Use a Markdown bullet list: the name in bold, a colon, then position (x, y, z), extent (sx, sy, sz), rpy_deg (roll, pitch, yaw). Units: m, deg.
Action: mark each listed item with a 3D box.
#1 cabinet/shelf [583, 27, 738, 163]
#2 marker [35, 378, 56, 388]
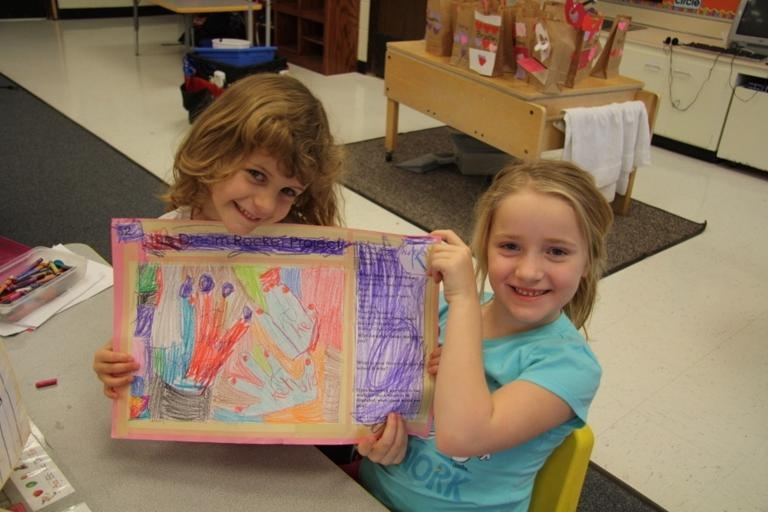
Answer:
- **cabinet/shelf**: position (2.105, -1.189, 4.295), extent (0.612, 0.757, 1.113), rpy_deg (-20, 45, -33)
- **marker**: position (-0.825, 0.308, 1.394), extent (0.039, 0.013, 0.019), rpy_deg (-9, 11, -11)
